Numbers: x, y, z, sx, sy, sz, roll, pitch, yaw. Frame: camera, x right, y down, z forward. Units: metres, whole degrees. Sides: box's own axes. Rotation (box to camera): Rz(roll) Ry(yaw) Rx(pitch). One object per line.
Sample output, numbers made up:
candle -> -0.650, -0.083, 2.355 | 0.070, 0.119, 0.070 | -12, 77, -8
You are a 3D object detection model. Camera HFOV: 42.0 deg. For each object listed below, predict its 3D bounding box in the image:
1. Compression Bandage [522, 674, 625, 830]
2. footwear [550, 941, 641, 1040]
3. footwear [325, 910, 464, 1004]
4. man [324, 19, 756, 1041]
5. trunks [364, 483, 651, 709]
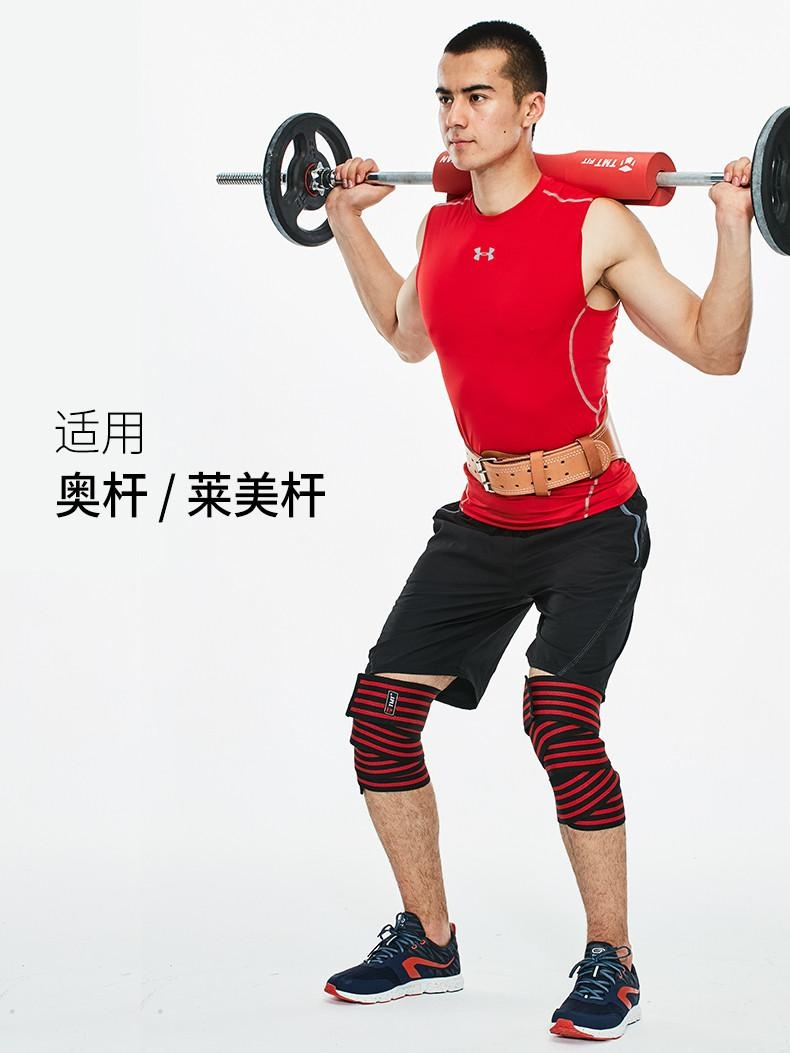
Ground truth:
Compression Bandage -> 0.375, 0.478, 2.214 | 0.210, 0.327, 0.190 | 0, -2, 7
footwear -> 0.410, 0.966, 2.147 | 0.150, 0.179, 0.225 | -1, -2, 22
footwear -> 0.013, 1.013, 2.466 | 0.415, 0.213, 0.137 | 2, -10, -23
man -> 0.275, -0.003, 2.305 | 0.774, 2.179, 0.470 | -2, -3, 40
trunks -> 0.310, 0.168, 2.417 | 0.671, 0.576, 0.364 | 0, -12, 42
